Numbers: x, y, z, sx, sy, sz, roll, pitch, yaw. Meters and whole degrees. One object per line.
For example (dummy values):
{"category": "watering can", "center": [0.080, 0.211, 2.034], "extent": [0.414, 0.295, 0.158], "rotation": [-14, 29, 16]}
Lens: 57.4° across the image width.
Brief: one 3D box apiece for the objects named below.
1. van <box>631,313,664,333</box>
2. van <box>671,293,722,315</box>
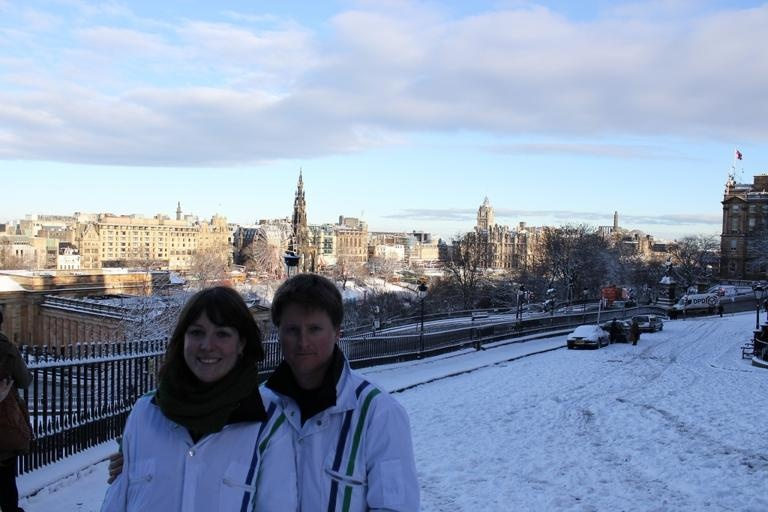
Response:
{"category": "van", "center": [14.151, 3.664, 37.688], "extent": [1.397, 0.980, 3.080], "rotation": [0, 5, 33]}
{"category": "van", "center": [22.056, 3.512, 49.532], "extent": [2.786, 1.490, 6.828], "rotation": [5, -2, 23]}
